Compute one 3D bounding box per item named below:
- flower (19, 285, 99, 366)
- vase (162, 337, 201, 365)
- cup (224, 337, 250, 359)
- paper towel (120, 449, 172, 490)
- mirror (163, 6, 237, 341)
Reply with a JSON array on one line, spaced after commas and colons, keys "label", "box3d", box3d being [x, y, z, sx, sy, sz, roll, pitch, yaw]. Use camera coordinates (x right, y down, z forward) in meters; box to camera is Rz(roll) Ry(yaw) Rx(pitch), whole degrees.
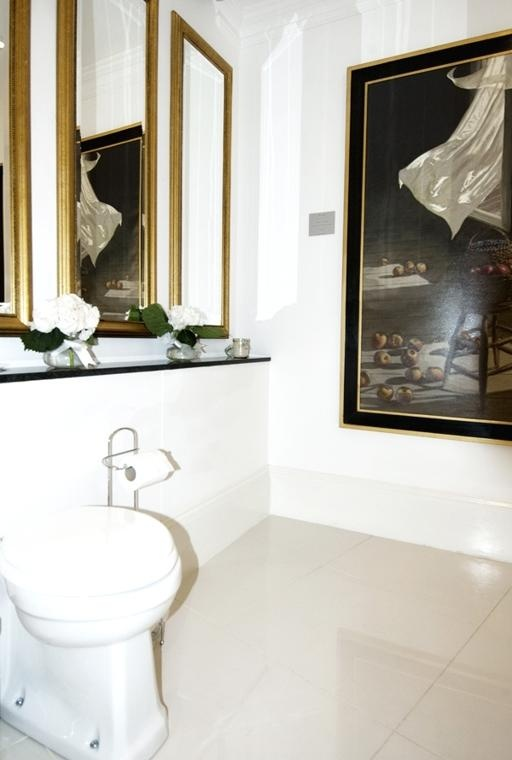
[{"label": "flower", "box3d": [-0.583, -0.157, 1.802, 0.194, 0.204, 0.199, 18, 22, 33]}, {"label": "vase", "box3d": [-0.274, -0.108, 2.352, 0.093, 0.084, 0.099, 1, -1, 2]}, {"label": "cup", "box3d": [-0.085, -0.141, 2.759, 0.103, 0.099, 0.075, 5, 8, 31]}, {"label": "paper towel", "box3d": [-0.300, 0.245, 1.738, 0.067, 0.073, 0.155, 7, 12, 32]}, {"label": "mirror", "box3d": [-0.219, -0.806, 2.639, 0.114, 1.265, 0.571, 3, 10, 17]}]
